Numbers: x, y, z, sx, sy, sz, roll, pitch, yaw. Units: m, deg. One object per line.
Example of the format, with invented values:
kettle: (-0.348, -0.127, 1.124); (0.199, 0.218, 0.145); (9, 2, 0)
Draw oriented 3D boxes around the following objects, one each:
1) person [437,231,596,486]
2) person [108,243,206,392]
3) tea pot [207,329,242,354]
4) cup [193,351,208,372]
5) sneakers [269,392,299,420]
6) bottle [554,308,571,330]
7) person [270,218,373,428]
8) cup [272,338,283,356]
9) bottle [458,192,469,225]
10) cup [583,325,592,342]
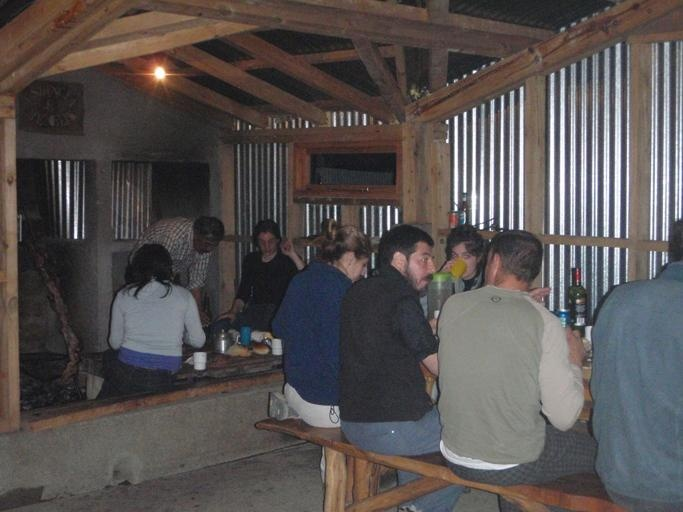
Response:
person: (1.081, 0.617, 5.199); (0.983, 1.538, 1.144); (1, 4, -29)
person: (-1.535, 0.554, 6.842); (0.778, 1.762, 0.984); (0, 27, -18)
tea pot: (-1.088, 0.801, 7.596); (0.199, 0.254, 0.333); (0, -5, 39)
cup: (-1.204, 0.906, 6.992); (0.127, 0.156, 0.136); (0, -7, 0)
sneakers: (-0.445, 1.110, 5.952); (0.179, 0.200, 0.071); (1, -8, 14)
bottle: (1.505, 0.433, 5.508); (0.138, 0.165, 0.145); (1, 6, 16)
person: (-0.106, 0.480, 5.989); (0.922, 1.425, 0.753); (5, 22, 8)
cup: (-0.585, 0.830, 7.316); (0.112, 0.140, 0.118); (0, 0, 0)
bottle: (1.184, -0.465, 7.825); (0.095, 0.301, 0.119); (2, 5, 9)
cup: (1.779, 0.557, 5.842); (0.097, 0.101, 0.071); (10, -6, -38)
